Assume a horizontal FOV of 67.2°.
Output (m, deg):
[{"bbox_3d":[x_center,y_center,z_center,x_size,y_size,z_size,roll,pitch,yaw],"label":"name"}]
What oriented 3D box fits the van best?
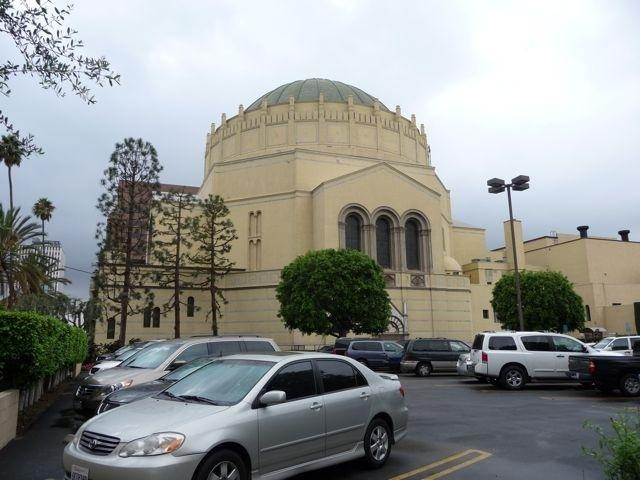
[{"bbox_3d":[8.335,4.730,18.762,4.391,1.621,2.129,-2,-4,-4],"label":"van"}]
